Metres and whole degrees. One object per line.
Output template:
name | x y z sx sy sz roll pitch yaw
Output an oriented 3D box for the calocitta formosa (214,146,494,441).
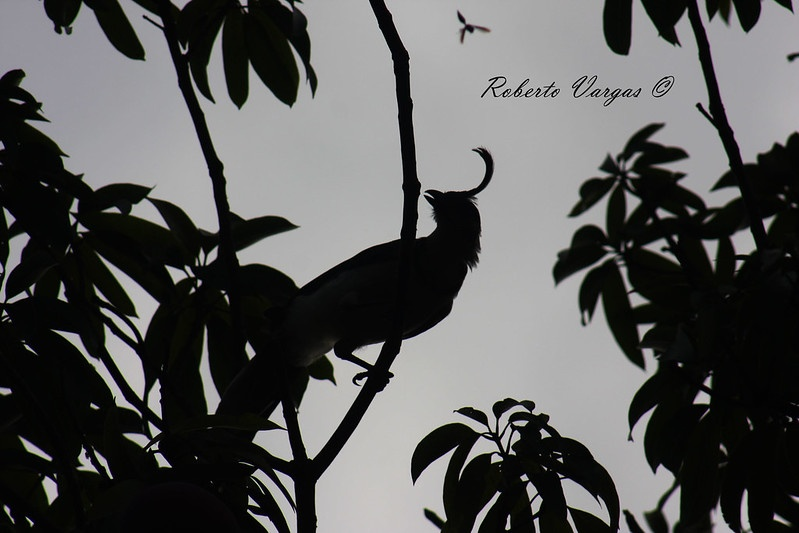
calocitta formosa | -0.129 0.082 5.751 1.049 0.393 1.258 3 -87 31
